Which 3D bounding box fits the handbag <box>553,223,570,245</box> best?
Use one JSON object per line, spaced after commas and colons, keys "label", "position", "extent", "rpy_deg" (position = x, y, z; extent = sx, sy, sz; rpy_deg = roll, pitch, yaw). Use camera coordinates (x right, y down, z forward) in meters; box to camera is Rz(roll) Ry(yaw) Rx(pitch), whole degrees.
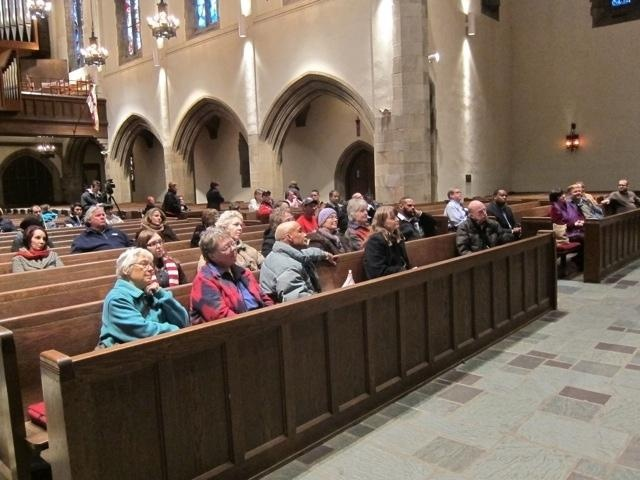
{"label": "handbag", "position": [3.735, -0.090, 6.919], "extent": [0.282, 0.340, 0.180], "rpy_deg": [-9, 7, -5]}

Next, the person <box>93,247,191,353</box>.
{"label": "person", "position": [-1.180, 0.579, 2.988], "extent": [0.545, 1.043, 0.555], "rpy_deg": [0, 1, -8]}

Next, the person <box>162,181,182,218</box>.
{"label": "person", "position": [-4.113, -1.151, 12.451], "extent": [0.856, 0.921, 0.480], "rpy_deg": [15, 14, 42]}

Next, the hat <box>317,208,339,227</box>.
{"label": "hat", "position": [0.097, -0.253, 5.062], "extent": [0.190, 0.166, 0.185], "rpy_deg": [-14, -11, 36]}

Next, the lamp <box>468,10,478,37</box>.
{"label": "lamp", "position": [4.919, -6.989, 14.454], "extent": [0.283, 0.702, 0.756], "rpy_deg": [7, 14, 20]}

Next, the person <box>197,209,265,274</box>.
{"label": "person", "position": [-0.872, 0.030, 4.535], "extent": [0.390, 0.633, 0.742], "rpy_deg": [0, 6, 33]}

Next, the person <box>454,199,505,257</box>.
{"label": "person", "position": [2.111, -0.153, 5.839], "extent": [0.731, 0.615, 0.414], "rpy_deg": [-19, 19, -28]}

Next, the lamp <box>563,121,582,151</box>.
{"label": "lamp", "position": [8.825, -3.598, 15.530], "extent": [0.524, 1.005, 0.217], "rpy_deg": [9, 15, 29]}

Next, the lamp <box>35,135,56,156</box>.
{"label": "lamp", "position": [-15.518, -5.319, 25.485], "extent": [1.033, 1.142, 2.485], "rpy_deg": [-6, 15, -32]}

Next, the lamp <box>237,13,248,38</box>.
{"label": "lamp", "position": [-2.704, -7.493, 15.597], "extent": [0.261, 0.761, 0.389], "rpy_deg": [-10, 18, -44]}

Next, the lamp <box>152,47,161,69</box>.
{"label": "lamp", "position": [-6.841, -7.735, 18.857], "extent": [0.233, 0.749, 0.508], "rpy_deg": [-8, 16, -37]}

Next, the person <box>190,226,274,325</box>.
{"label": "person", "position": [-0.665, 0.278, 3.353], "extent": [0.552, 0.699, 0.806], "rpy_deg": [2, 11, 16]}

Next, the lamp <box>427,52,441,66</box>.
{"label": "lamp", "position": [3.452, -5.451, 13.351], "extent": [0.169, 0.330, 0.542], "rpy_deg": [14, 17, 41]}

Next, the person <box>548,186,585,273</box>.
{"label": "person", "position": [4.047, -0.155, 7.294], "extent": [0.541, 1.456, 1.269], "rpy_deg": [-2, 8, 31]}
